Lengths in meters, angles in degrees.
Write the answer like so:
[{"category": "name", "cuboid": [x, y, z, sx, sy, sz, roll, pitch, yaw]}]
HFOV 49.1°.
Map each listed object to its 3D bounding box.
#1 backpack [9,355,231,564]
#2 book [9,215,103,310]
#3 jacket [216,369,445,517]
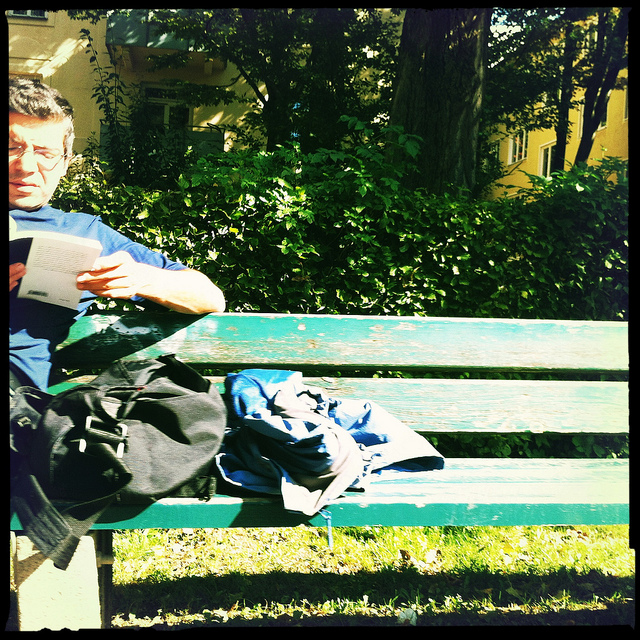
[{"category": "backpack", "cuboid": [-0.645, 0.454, 2.291, 0.677, 0.245, 0.618, -14, 53, -31]}, {"category": "book", "cuboid": [-0.833, -0.177, 2.240, 0.272, 0.267, 0.075, 12, 39, -21]}, {"category": "jacket", "cuboid": [-0.065, 0.395, 2.386, 0.541, 0.189, 0.536, -8, 15, -37]}]
